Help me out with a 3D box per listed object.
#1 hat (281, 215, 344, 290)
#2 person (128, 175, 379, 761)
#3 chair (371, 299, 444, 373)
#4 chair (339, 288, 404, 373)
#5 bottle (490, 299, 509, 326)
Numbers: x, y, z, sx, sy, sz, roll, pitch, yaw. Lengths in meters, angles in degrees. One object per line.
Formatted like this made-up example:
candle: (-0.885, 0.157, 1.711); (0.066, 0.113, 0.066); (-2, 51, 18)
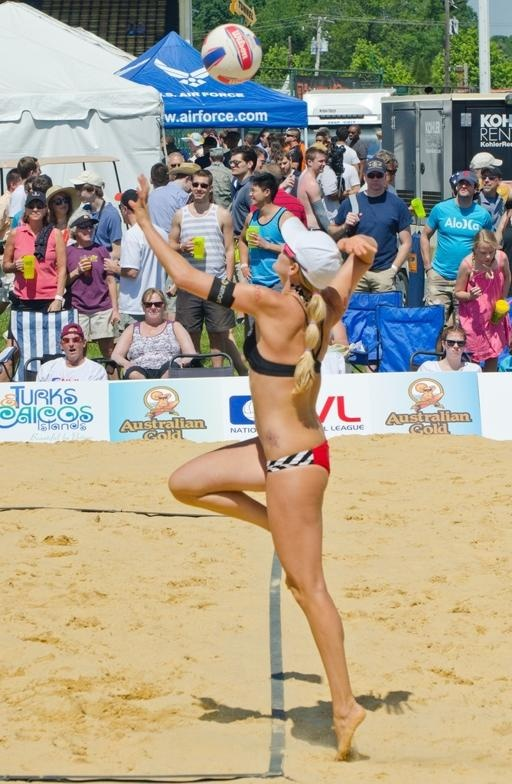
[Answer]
hat: (0.170, -0.437, 2.827); (0.176, 0.235, 0.251); (-1, 13, 2)
person: (0.020, 0.255, 2.893); (0.731, 1.883, 0.809); (-3, 14, -8)
chair: (1.473, -0.551, 8.720); (0.621, 0.991, 0.697); (0, 1, 3)
chair: (1.139, -0.650, 8.864); (0.574, 0.782, 0.532); (9, 14, 18)
bottle: (2.255, -0.744, 8.227); (0.126, 0.239, 0.233); (1, 13, 8)
